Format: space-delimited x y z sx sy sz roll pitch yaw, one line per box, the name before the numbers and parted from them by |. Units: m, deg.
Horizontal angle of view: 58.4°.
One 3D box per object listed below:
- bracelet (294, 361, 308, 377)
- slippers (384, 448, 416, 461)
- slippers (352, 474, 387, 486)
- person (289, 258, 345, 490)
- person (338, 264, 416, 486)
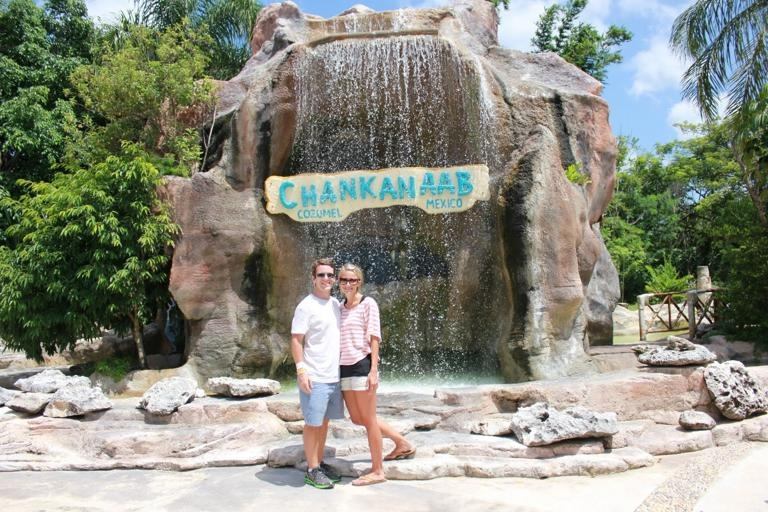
bracelet | -1.199 1.642 10.053 0.160 0.122 0.181 -3 -5 -1
slippers | 0.254 3.022 10.542 0.410 0.116 0.194 2 -11 -10
slippers | -0.224 3.261 10.092 0.383 0.096 0.178 4 -10 -12
person | -0.979 1.704 10.182 0.717 3.331 0.463 -1 -6 -6
person | -0.333 1.712 10.118 0.623 3.218 0.331 -1 -6 -3
